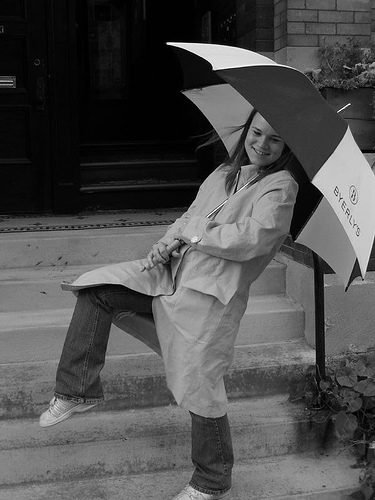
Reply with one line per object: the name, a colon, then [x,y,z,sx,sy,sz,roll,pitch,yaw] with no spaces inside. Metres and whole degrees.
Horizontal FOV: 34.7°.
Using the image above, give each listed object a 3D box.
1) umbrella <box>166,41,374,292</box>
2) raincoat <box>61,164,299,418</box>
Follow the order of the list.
umbrella: [0.309,-0.306,2.511,0.760,1.012,1.345,-1,12,-2]
raincoat: [0.001,0.015,2.211,0.720,1.033,0.437,26,-6,-18]
